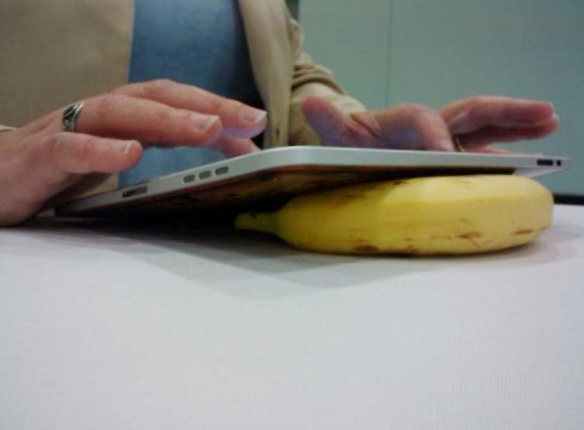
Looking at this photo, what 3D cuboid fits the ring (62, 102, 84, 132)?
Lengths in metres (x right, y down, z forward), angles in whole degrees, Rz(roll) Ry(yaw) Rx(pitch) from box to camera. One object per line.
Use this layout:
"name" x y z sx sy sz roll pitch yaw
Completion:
"ring" -0.223 -0.100 0.553 0.018 0.035 0.008 -2 -25 16

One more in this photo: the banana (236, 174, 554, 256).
"banana" 0.095 0.003 0.477 0.173 0.047 0.096 -1 -5 13
